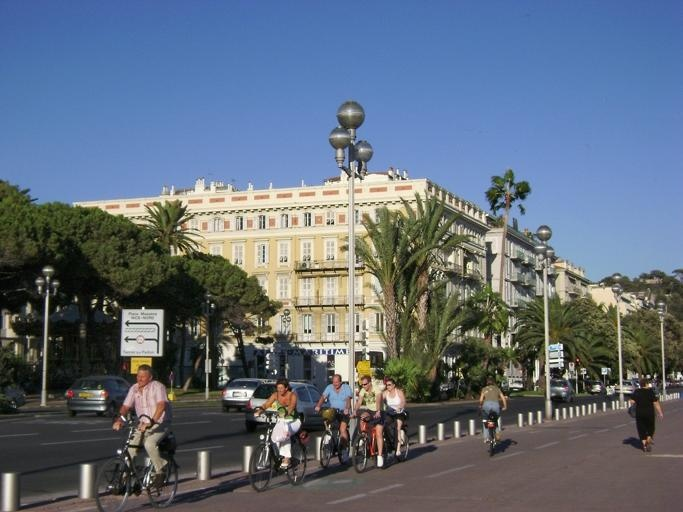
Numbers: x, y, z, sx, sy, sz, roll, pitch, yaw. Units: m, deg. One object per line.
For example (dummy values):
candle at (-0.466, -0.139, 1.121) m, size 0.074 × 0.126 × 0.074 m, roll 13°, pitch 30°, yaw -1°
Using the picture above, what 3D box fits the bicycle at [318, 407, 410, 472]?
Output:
bicycle at (0.514, 5.003, 25.238) m, size 1.248 × 1.650 × 2.526 m, roll -10°, pitch -16°, yaw 39°

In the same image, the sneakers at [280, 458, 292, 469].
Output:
sneakers at (-1.281, 4.838, 21.954) m, size 0.259 × 0.262 × 0.112 m, roll 2°, pitch -9°, yaw -22°

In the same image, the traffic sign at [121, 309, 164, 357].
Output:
traffic sign at (-9.183, 3.544, 43.721) m, size 1.838 × 2.407 × 0.285 m, roll 1°, pitch -12°, yaw -6°

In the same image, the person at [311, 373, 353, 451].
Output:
person at (-0.040, 4.288, 26.031) m, size 0.958 × 2.085 × 1.029 m, roll -12°, pitch 14°, yaw -19°
